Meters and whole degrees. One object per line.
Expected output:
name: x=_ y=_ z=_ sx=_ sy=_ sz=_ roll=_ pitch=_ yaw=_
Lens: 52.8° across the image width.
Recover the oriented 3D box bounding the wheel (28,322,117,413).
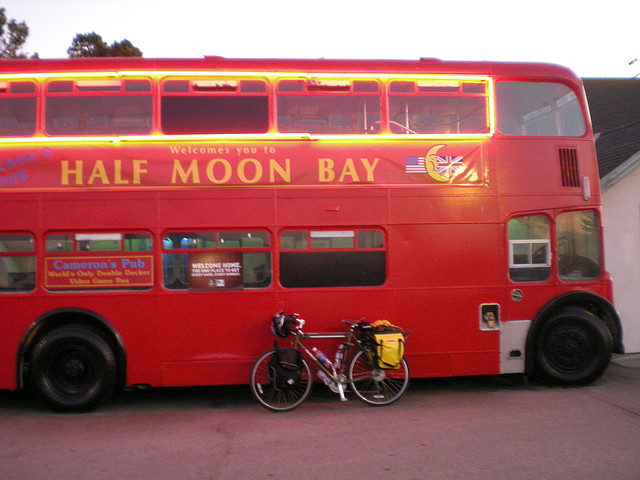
wheel: x=-3.710 y=1.882 z=9.635 sx=1.047 sy=1.013 sz=0.394 roll=33 pitch=-4 yaw=-3

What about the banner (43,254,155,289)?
banner: x=-3.343 y=0.400 z=9.784 sx=2.490 sy=0.831 sz=0.099 roll=-3 pitch=-2 yaw=30

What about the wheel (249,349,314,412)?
wheel: x=-0.595 y=2.082 z=9.644 sx=0.932 sy=0.866 sz=0.091 roll=6 pitch=10 yaw=-3

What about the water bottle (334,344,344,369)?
water bottle: x=0.289 y=1.773 z=9.786 sx=0.148 sy=0.378 sz=0.118 roll=-1 pitch=9 yaw=2

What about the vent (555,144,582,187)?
vent: x=3.974 y=-1.169 z=10.296 sx=0.048 sy=0.628 sz=0.374 roll=-15 pitch=15 yaw=-35

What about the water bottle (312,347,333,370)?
water bottle: x=0.036 y=1.800 z=9.791 sx=0.304 sy=0.313 sz=0.200 roll=-1 pitch=8 yaw=2

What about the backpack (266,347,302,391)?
backpack: x=-0.539 y=1.904 z=9.547 sx=0.650 sy=0.726 sz=0.421 roll=4 pitch=-6 yaw=-33

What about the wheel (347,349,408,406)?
wheel: x=0.874 y=2.076 z=9.787 sx=0.951 sy=0.881 sz=0.098 roll=1 pitch=4 yaw=-1
